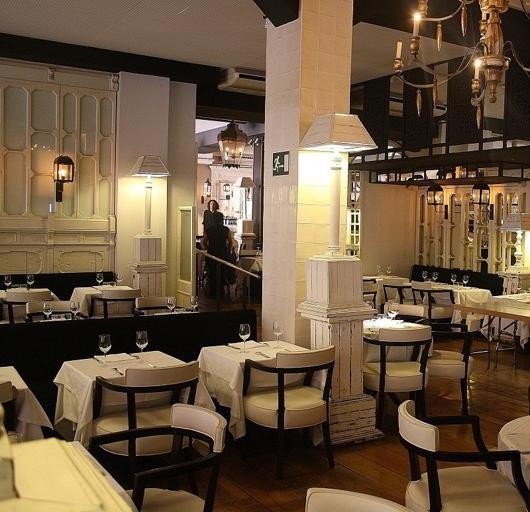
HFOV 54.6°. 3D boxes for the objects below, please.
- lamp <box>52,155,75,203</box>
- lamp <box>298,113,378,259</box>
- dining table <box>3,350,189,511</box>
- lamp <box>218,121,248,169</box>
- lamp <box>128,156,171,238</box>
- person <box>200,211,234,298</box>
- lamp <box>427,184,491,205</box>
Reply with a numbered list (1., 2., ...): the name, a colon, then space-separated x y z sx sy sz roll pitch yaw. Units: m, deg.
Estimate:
1. lamp: -3.061 -1.184 7.760 0.317 0.690 0.297 1 19 -12
2. lamp: 0.598 -0.652 4.425 0.553 1.231 0.650 1 4 -14
3. dining table: -1.057 1.035 3.460 0.772 0.505 0.753 -1 3 -39
4. lamp: -0.622 -2.190 9.851 0.529 0.942 0.995 2 4 -4
5. lamp: -1.829 -0.946 8.099 0.555 1.227 0.604 8 7 39
6. person: -0.953 -0.102 10.310 0.526 1.830 0.591 5 27 -1
7. lamp: 3.496 -1.085 9.133 0.734 0.397 1.355 -1 6 -35
